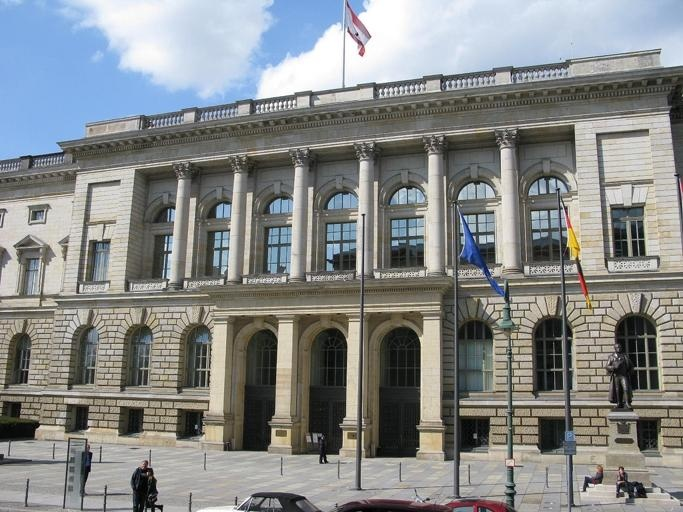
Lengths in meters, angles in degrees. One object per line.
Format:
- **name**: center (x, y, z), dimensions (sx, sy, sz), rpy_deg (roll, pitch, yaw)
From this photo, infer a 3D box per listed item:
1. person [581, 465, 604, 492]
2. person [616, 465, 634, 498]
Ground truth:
- **person**: center (13.885, 12.279, 40.940), dimensions (1.261, 1.340, 0.915), rpy_deg (-7, -15, 16)
- **person**: center (15.123, 12.102, 39.848), dimensions (0.826, 1.527, 0.607), rpy_deg (-8, -16, 21)
